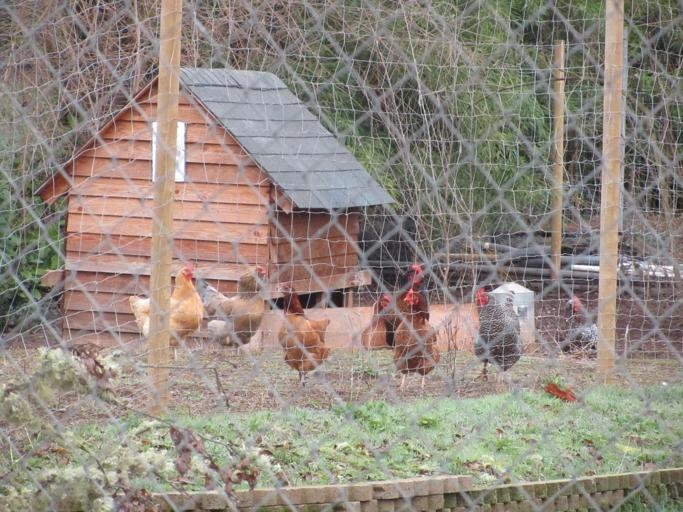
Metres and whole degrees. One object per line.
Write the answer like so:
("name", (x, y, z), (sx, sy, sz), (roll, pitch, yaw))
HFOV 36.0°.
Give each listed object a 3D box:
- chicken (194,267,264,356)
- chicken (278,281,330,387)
("chicken", (-1.057, 0.467, 10.234), (0.804, 0.954, 0.569), (10, 15, 33))
("chicken", (-0.316, 0.637, 9.070), (0.468, 0.879, 0.589), (-1, 10, 1))
